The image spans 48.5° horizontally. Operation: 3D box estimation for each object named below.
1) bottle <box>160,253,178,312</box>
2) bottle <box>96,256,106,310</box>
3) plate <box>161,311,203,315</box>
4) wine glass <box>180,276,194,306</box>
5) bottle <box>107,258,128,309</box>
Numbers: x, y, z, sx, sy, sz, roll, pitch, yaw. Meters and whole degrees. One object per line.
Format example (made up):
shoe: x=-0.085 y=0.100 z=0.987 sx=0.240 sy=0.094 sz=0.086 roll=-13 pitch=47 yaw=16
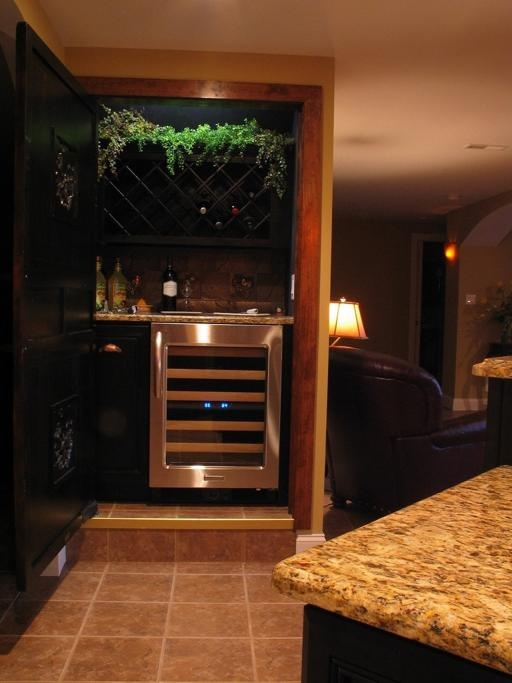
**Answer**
bottle: x=-0.536 y=-0.348 z=3.514 sx=0.084 sy=0.323 sz=0.156 roll=0 pitch=3 yaw=-13
bottle: x=-0.899 y=-0.342 z=3.325 sx=0.049 sy=0.324 sz=0.459 roll=0 pitch=3 yaw=-14
plate: x=-0.426 y=-0.166 z=3.316 sx=0.250 sy=0.024 sz=0.584 roll=0 pitch=3 yaw=-9
wine glass: x=-0.427 y=-0.314 z=3.545 sx=0.075 sy=0.202 sz=0.130 roll=1 pitch=3 yaw=-6
bottle: x=-0.800 y=-0.339 z=3.419 sx=0.105 sy=0.312 sz=0.100 roll=-6 pitch=4 yaw=0
